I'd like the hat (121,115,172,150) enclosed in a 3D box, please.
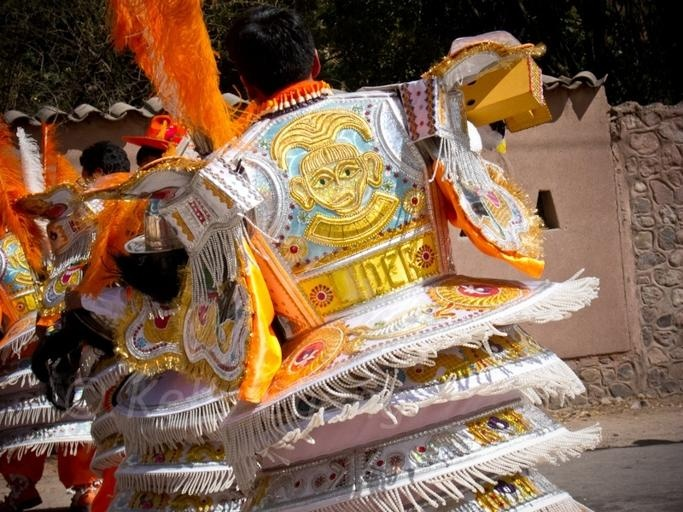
[{"bbox_3d":[-1.001,-0.682,4.179,0.279,0.141,0.343,-13,5,-13],"label":"hat"}]
